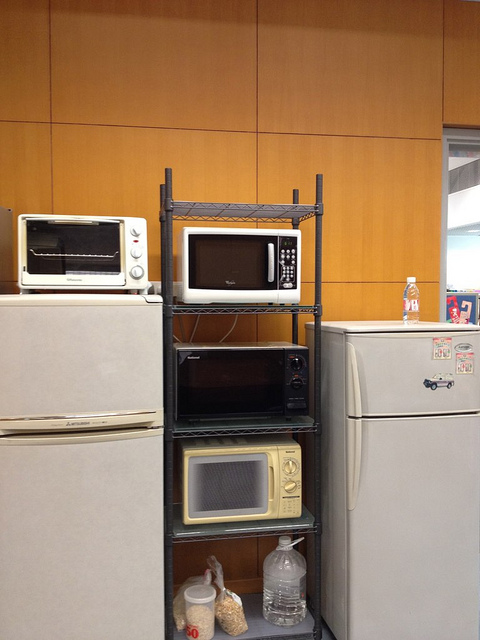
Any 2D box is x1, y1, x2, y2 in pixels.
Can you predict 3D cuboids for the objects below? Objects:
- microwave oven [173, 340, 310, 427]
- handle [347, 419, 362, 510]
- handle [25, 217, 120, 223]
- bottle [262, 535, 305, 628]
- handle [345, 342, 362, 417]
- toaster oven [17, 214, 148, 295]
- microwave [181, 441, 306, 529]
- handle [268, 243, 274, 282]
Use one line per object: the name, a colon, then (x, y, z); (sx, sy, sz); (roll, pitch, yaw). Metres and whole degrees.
microwave oven: (-0.005, 0.240, 2.749); (0.443, 0.309, 0.290); (-1, 1, -10)
handle: (0.434, 0.537, 2.675); (0.015, 0.355, 0.074); (-7, -17, 40)
handle: (-0.624, -0.376, 2.650); (0.339, 0.013, 0.041); (0, 3, -9)
bottle: (0.180, 1.095, 2.929); (0.171, 0.270, 0.148); (0, 2, 5)
handle: (0.426, 0.222, 2.673); (0.065, 0.277, 0.033); (1, 2, 15)
toaster oven: (-0.591, -0.250, 2.669); (0.452, 0.340, 0.282); (0, -2, -10)
microwave: (0.015, 0.741, 2.886); (0.490, 0.343, 0.338); (-4, -39, 2)
handle: (0.119, -0.225, 2.743); (0.022, 0.149, 0.017); (0, 2, 2)
